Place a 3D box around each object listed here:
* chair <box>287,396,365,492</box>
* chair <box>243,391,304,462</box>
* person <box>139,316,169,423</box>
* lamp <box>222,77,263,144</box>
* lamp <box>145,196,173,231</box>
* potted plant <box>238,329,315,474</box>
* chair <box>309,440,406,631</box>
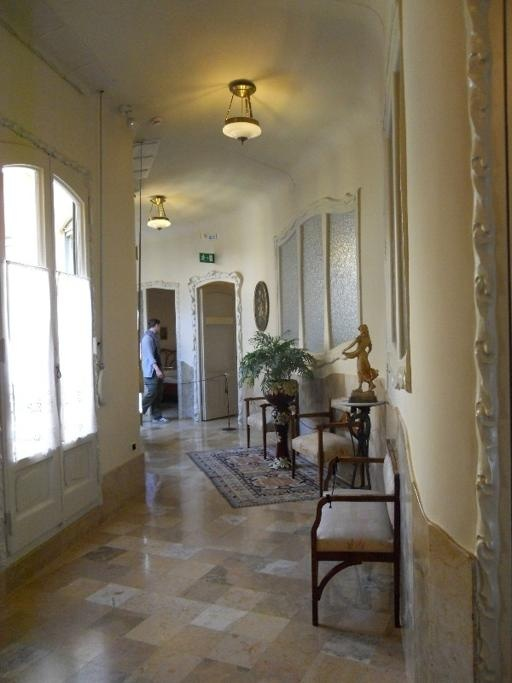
[{"bbox_3d":[0.650,0.812,5.194,0.586,0.875,0.552,2,3,-14],"label":"chair"},{"bbox_3d":[0.217,0.919,7.173,0.567,0.935,0.640,0,2,-17],"label":"chair"},{"bbox_3d":[-1.758,0.535,9.932,0.439,1.841,1.039,-1,-1,-10],"label":"person"},{"bbox_3d":[-0.121,-1.983,4.963,0.313,0.477,0.321,1,3,5],"label":"lamp"},{"bbox_3d":[-1.480,-1.937,8.742,0.382,0.598,0.405,-1,-8,5],"label":"lamp"},{"bbox_3d":[0.295,0.644,6.476,0.793,1.473,0.790,0,-4,-20],"label":"potted plant"},{"bbox_3d":[0.586,1.073,3.394,0.477,0.694,1.337,-3,-3,9],"label":"chair"}]
